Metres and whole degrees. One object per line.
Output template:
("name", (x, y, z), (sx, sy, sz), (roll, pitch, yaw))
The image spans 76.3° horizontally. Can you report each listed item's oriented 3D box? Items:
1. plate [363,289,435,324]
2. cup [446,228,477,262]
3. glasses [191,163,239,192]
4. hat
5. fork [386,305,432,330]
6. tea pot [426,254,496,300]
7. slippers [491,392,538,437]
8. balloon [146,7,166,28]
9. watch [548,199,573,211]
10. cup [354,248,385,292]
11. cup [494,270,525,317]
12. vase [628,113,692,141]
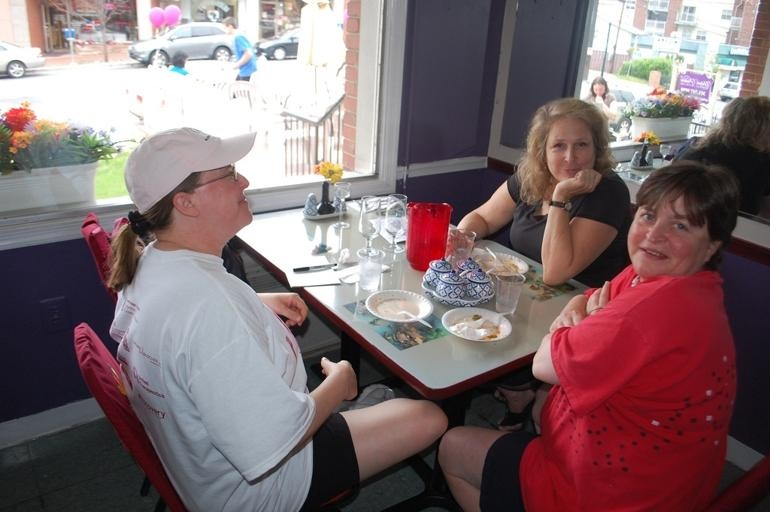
("plate", (0.055, 0.206, 1.991), (0.167, 0.038, 0.161), (-5, 29, -15))
("cup", (0.336, -0.048, 2.279), (0.140, 0.156, 0.144), (2, 22, -1))
("glasses", (-0.533, -0.249, 1.550), (0.097, 0.026, 0.093), (-22, 26, -9))
("hat", (-0.612, -0.298, 1.542), (0.364, 0.141, 0.232), (-29, 25, -6))
("fork", (0.093, 0.215, 1.962), (0.048, 0.040, 0.237), (-32, 35, -21))
("tea pot", (0.310, 0.068, 2.067), (0.212, 0.088, 0.212), (2, 20, -1))
("slippers", (0.654, 0.788, 2.436), (0.269, 0.254, 0.151), (-2, 13, 4))
("balloon", (-1.192, -1.257, 2.568), (0.089, 0.125, 0.086), (-10, 43, -16))
("watch", (0.859, -0.243, 2.377), (0.087, 0.049, 0.085), (6, -3, -17))
("cup", (-0.066, 0.072, 2.189), (0.173, 0.192, 0.167), (2, 20, -1))
("cup", (0.502, 0.136, 2.040), (0.149, 0.168, 0.161), (1, 22, 0))
("vase", (1.632, -0.769, 2.912), (0.152, 0.092, 0.222), (-4, 14, -22))
